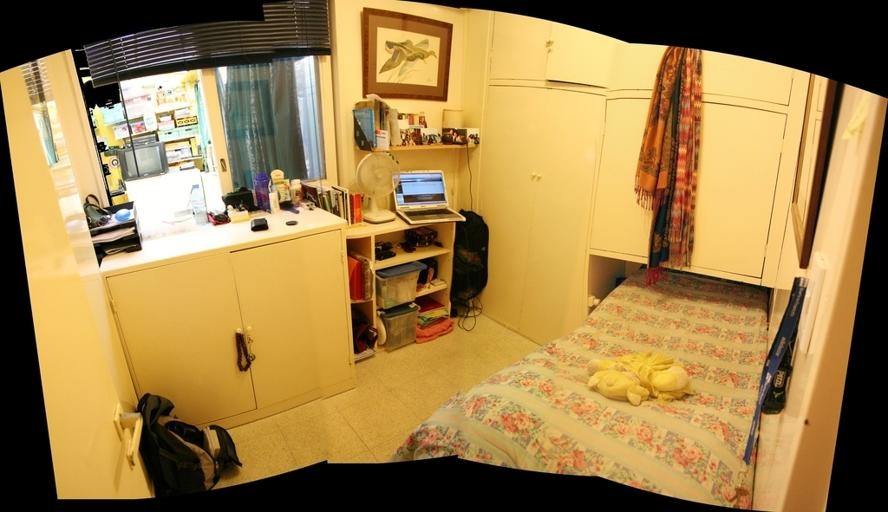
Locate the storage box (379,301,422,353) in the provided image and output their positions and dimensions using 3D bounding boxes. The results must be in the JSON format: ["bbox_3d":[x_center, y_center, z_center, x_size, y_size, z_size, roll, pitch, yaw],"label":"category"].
[{"bbox_3d":[-0.329,0.508,4.030,0.210,0.282,0.349,12,16,43],"label":"storage box"}]

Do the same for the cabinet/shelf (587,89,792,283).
[{"bbox_3d":[1.439,-0.446,3.258,1.135,0.949,0.367,12,17,33],"label":"cabinet/shelf"}]

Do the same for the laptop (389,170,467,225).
[{"bbox_3d":[-0.115,-0.437,4.143,0.506,0.259,0.449,-15,37,-39],"label":"laptop"}]

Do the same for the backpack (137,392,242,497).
[{"bbox_3d":[-1.304,0.932,2.881,0.413,0.494,0.342,-12,24,-23],"label":"backpack"}]

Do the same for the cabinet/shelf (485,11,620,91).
[{"bbox_3d":[0.692,-1.409,4.055,1.134,0.363,0.790,5,9,7],"label":"cabinet/shelf"}]

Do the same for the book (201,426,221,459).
[{"bbox_3d":[-1.222,0.981,2.982,0.034,0.118,0.125,-26,10,-18],"label":"book"}]

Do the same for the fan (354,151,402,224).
[{"bbox_3d":[-0.485,-0.517,4.008,0.294,0.497,0.398,-7,23,-12],"label":"fan"}]

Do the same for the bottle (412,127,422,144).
[{"bbox_3d":[-0.195,-0.880,4.121,0.068,0.119,0.062,-2,23,1],"label":"bottle"}]

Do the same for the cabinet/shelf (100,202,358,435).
[{"bbox_3d":[-1.218,0.573,3.344,1.125,0.939,0.402,-6,-25,-32],"label":"cabinet/shelf"}]

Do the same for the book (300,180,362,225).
[{"bbox_3d":[-0.727,-0.367,3.777,0.369,0.113,0.265,10,10,-36],"label":"book"}]

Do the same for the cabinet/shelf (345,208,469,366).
[{"bbox_3d":[-0.291,0.220,4.039,1.057,0.881,0.341,-13,19,-41],"label":"cabinet/shelf"}]

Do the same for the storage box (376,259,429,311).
[{"bbox_3d":[-0.384,0.200,4.067,0.292,0.262,0.414,18,22,41],"label":"storage box"}]

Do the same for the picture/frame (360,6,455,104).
[{"bbox_3d":[-0.264,-1.419,4.018,0.747,0.629,0.034,-17,27,-34],"label":"picture/frame"}]

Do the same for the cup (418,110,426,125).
[{"bbox_3d":[-0.164,-1.038,4.245,0.054,0.112,0.085,-1,22,1],"label":"cup"}]
